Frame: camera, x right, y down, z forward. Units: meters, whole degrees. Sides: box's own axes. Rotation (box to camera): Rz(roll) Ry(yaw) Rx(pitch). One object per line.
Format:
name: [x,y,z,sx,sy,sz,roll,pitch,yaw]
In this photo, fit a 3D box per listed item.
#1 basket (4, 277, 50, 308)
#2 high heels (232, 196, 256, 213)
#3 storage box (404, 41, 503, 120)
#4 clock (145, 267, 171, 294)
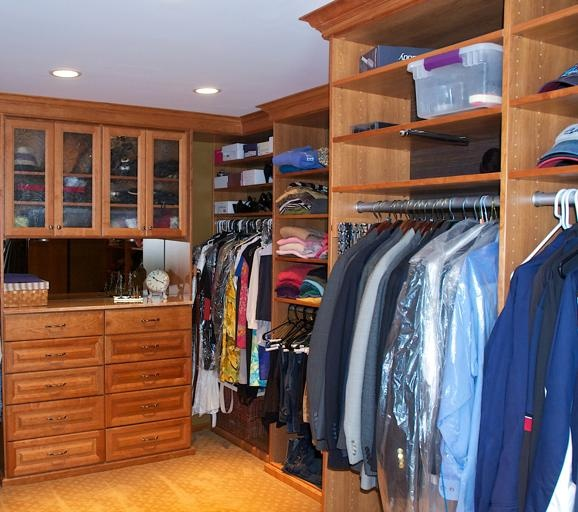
basket: [-1.926,0.257,3.763,0.247,0.135,0.342,-1,3,-40]
high heels: [-0.398,-0.437,4.574,0.110,0.091,0.279,0,0,-25]
storage box: [0.621,-0.651,1.923,0.261,0.149,0.346,-4,4,-29]
clock: [-1.112,0.203,4.340,0.230,0.176,0.048,5,-5,-23]
